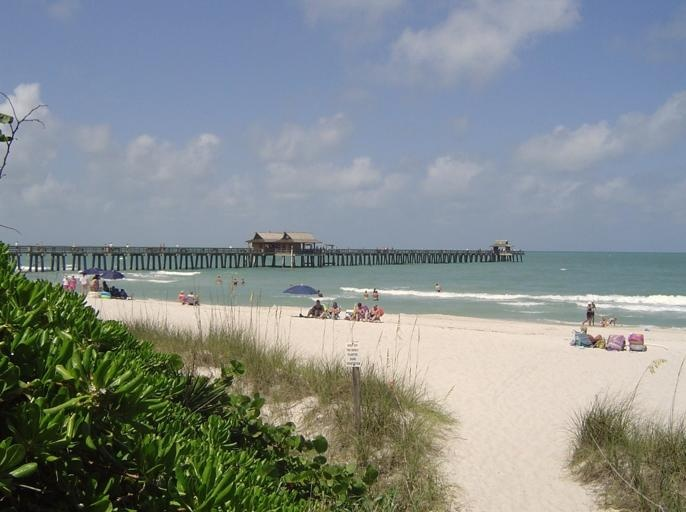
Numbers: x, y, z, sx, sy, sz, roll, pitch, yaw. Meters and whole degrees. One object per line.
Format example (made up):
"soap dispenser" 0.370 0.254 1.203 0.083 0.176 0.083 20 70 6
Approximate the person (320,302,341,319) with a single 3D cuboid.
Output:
"person" -0.547 2.335 25.688 0.731 0.358 1.022 1 -1 4

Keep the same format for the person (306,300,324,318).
"person" -1.154 2.243 24.708 0.705 0.865 0.495 12 -14 -33

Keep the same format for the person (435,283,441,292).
"person" 7.402 2.484 47.787 0.506 0.729 1.249 -1 -3 12
